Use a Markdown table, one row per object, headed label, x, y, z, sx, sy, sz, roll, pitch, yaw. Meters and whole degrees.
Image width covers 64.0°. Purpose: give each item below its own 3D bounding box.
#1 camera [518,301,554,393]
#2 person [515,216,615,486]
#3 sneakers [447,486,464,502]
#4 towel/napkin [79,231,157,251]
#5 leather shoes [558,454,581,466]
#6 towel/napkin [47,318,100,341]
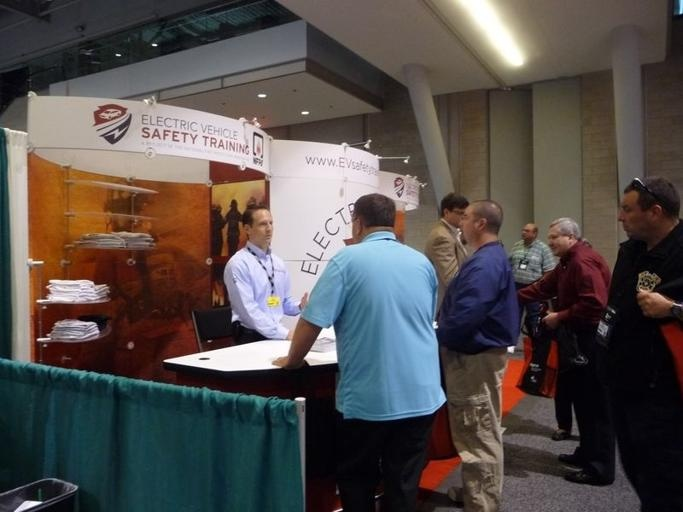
| label | x | y | z | sx | sy | sz | roll | pitch | yaw |
| --- | --- | --- | --- | --- | --- | --- | --- | --- | --- |
| camera | 1.451 | 0.726 | 4.044 | 0.258 | 0.586 | 0.162 | 2 | -27 | 25 |
| person | 1.667 | 0.655 | 4.000 | 0.612 | 1.877 | 0.536 | 0 | 1 | 39 |
| sneakers | 0.770 | 1.597 | 3.672 | 0.052 | 0.071 | 0.154 | 0 | 1 | 6 |
| towel/napkin | -2.007 | -0.140 | 4.856 | 0.650 | 0.138 | 0.276 | -1 | 1 | -21 |
| leather shoes | 1.724 | 1.526 | 4.103 | 0.061 | 0.079 | 0.170 | 5 | -1 | -41 |
| towel/napkin | -2.278 | 0.572 | 4.614 | 0.256 | 0.115 | 0.226 | 0 | 2 | 27 |
